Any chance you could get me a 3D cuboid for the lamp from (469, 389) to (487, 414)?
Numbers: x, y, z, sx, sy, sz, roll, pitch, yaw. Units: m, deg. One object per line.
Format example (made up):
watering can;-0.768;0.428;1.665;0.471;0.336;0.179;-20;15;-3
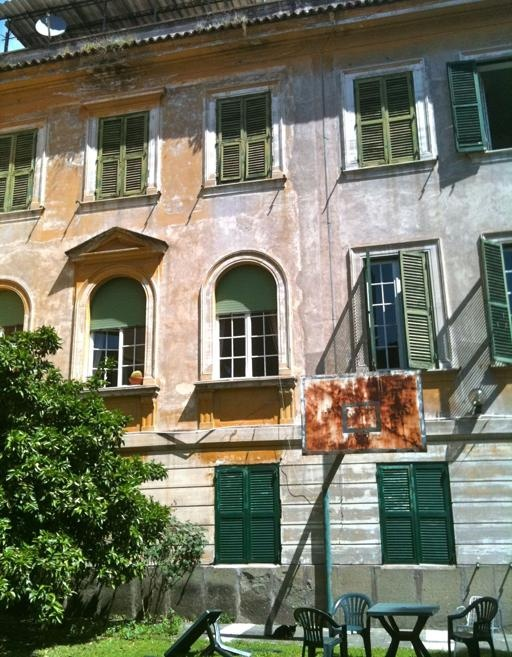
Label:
lamp;3.538;1.171;10.252;0.218;0.442;0.211;1;-18;-5
